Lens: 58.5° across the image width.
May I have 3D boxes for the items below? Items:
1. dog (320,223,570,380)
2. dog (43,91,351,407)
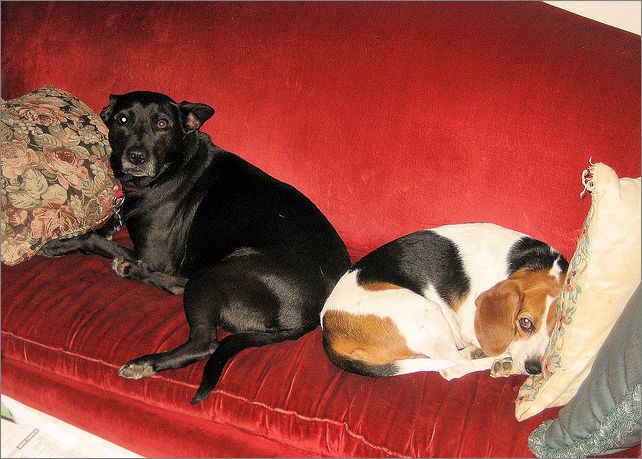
[{"bbox_3d":[0.582,0.350,2.761,0.949,0.409,0.740,4,39,11],"label":"dog"},{"bbox_3d":[-0.598,0.086,3.387,2.023,1.246,1.007,44,25,1],"label":"dog"}]
